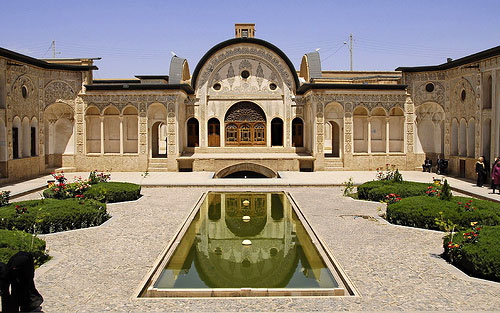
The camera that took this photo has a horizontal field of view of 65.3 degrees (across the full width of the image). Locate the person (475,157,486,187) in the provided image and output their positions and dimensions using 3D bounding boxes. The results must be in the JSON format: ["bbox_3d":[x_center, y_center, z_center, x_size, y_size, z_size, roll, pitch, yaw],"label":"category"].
[{"bbox_3d":[11.935,0.733,20.149,0.422,1.515,0.953,9,15,35],"label":"person"}]
